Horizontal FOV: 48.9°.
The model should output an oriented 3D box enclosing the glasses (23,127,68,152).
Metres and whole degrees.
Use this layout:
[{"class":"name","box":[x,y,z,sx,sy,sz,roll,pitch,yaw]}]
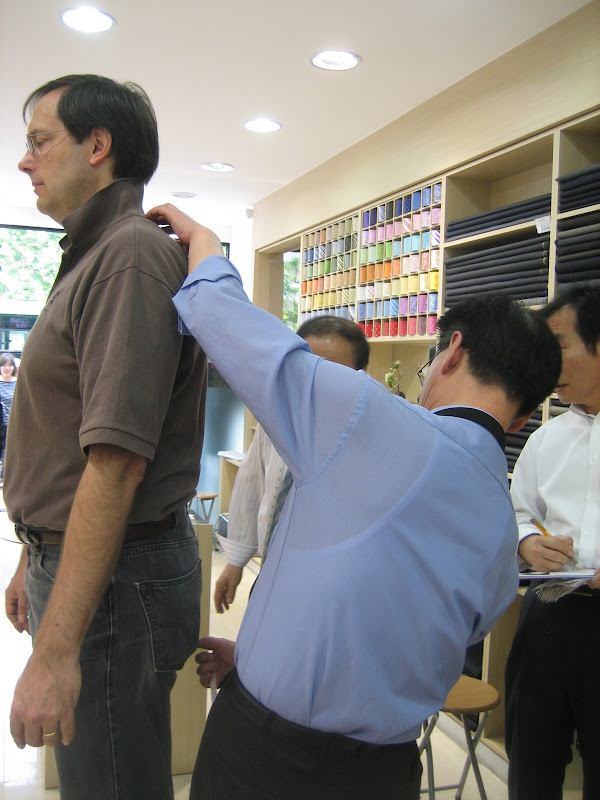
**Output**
[{"class":"glasses","box":[-0.440,-0.437,1.121,0.050,0.018,0.054,8,10,44]}]
